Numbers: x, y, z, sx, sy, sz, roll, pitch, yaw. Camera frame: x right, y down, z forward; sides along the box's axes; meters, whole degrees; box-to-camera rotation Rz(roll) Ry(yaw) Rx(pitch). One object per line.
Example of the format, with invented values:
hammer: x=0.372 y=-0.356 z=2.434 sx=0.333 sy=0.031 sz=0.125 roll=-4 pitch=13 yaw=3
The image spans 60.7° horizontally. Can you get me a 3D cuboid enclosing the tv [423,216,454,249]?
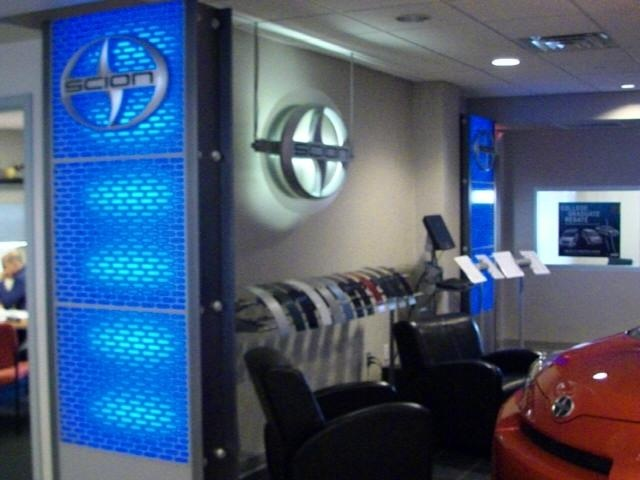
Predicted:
tv: x=1.195 y=-0.070 z=5.448 sx=0.262 sy=0.356 sz=0.355 roll=1 pitch=1 yaw=20
